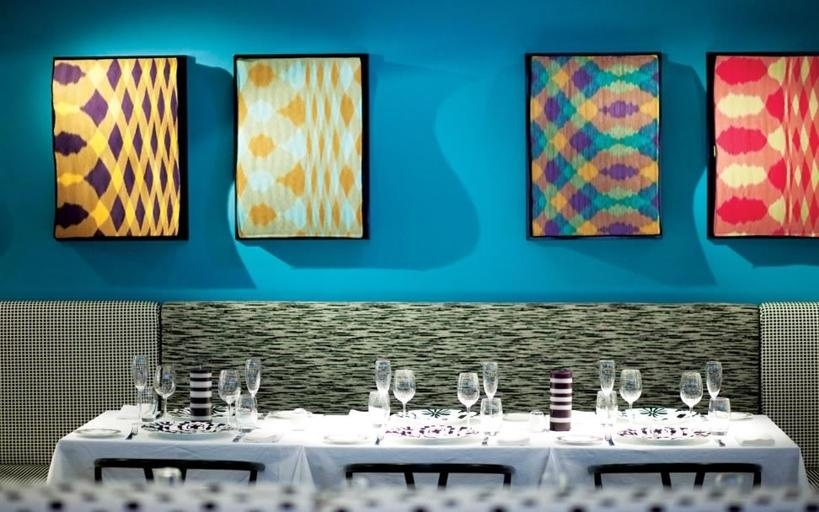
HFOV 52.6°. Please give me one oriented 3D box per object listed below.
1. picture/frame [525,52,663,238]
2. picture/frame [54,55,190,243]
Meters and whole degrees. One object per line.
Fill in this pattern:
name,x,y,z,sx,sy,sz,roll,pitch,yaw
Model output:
picture/frame,1.252,-0.758,5.462,1.190,1.560,0.109,0,1,3
picture/frame,-1.918,-0.727,5.558,1.196,1.552,0.156,0,2,3
